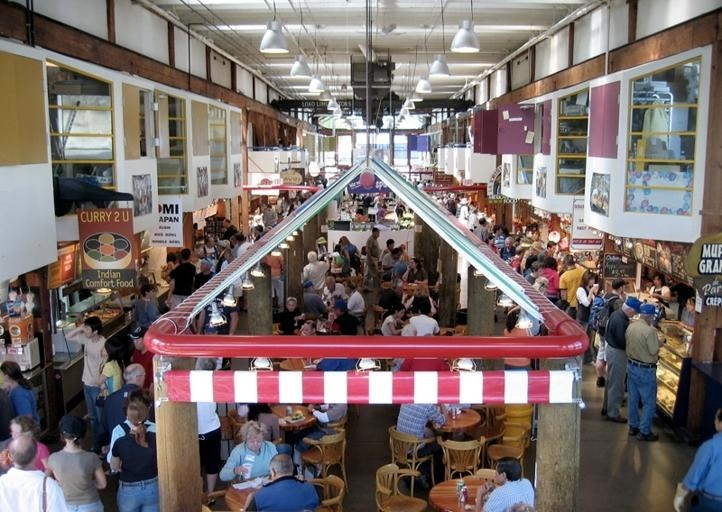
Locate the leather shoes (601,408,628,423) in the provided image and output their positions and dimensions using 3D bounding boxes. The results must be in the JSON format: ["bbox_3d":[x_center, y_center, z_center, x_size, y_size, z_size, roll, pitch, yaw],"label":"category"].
[{"bbox_3d":[3.677,2.333,8.454,0.335,0.252,0.128,-1,0,0],"label":"leather shoes"}]

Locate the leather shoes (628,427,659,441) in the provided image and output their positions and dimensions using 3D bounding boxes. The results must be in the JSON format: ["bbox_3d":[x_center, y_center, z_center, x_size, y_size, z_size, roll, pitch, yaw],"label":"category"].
[{"bbox_3d":[3.826,2.444,7.917,0.410,0.198,0.144,-2,2,-7],"label":"leather shoes"}]

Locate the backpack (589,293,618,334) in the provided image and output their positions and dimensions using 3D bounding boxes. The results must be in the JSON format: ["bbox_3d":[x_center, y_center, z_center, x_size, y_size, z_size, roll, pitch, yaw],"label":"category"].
[{"bbox_3d":[3.773,0.891,9.025,0.362,0.683,0.462,5,11,10],"label":"backpack"}]

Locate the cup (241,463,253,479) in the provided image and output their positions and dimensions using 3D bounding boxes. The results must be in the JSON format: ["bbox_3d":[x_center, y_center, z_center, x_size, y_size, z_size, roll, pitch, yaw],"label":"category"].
[{"bbox_3d":[-1.096,2.089,5.620,0.077,0.134,0.037,3,1,-26],"label":"cup"}]

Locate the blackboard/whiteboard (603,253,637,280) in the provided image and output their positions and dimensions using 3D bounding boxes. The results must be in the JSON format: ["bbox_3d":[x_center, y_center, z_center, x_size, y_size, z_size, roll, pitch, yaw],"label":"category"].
[{"bbox_3d":[4.670,0.163,10.496,0.434,0.340,0.046,-3,11,-10],"label":"blackboard/whiteboard"}]

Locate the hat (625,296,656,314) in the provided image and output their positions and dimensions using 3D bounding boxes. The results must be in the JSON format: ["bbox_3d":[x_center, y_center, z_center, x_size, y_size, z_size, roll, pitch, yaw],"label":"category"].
[{"bbox_3d":[3.890,0.713,7.892,0.373,0.211,0.244,-3,20,-12],"label":"hat"}]

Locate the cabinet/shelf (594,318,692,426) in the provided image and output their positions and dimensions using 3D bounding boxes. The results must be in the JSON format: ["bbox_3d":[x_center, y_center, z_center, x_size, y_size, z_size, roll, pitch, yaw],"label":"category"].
[{"bbox_3d":[4.270,1.706,8.674,0.381,1.074,1.117,3,16,-21],"label":"cabinet/shelf"}]
